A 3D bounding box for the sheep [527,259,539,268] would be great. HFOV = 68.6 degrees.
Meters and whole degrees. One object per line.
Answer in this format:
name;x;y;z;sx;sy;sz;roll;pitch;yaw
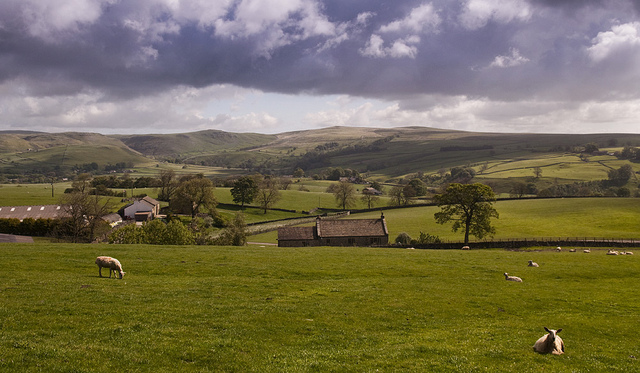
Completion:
sheep;42.178;15.210;92.193;2.639;1.043;0.904;13;-19;-13
